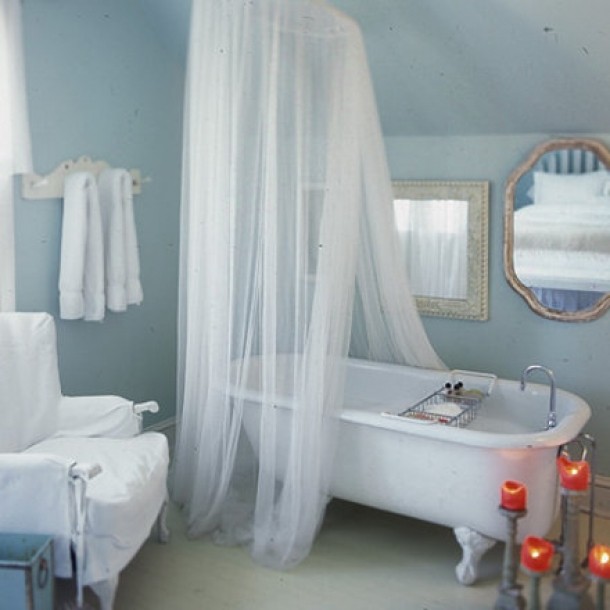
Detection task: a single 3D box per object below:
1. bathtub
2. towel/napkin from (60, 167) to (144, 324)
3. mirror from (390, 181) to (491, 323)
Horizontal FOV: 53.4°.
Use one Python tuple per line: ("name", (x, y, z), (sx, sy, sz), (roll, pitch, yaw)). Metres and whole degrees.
("bathtub", (0.418, 0.553, 2.589), (1.406, 0.772, 0.900), (6, 11, 26))
("towel/napkin", (-1.041, -0.297, 3.037), (0.229, 0.770, 0.440), (6, 10, 29))
("mirror", (0.719, -0.284, 3.159), (0.638, 0.777, 0.047), (4, 8, 35))
